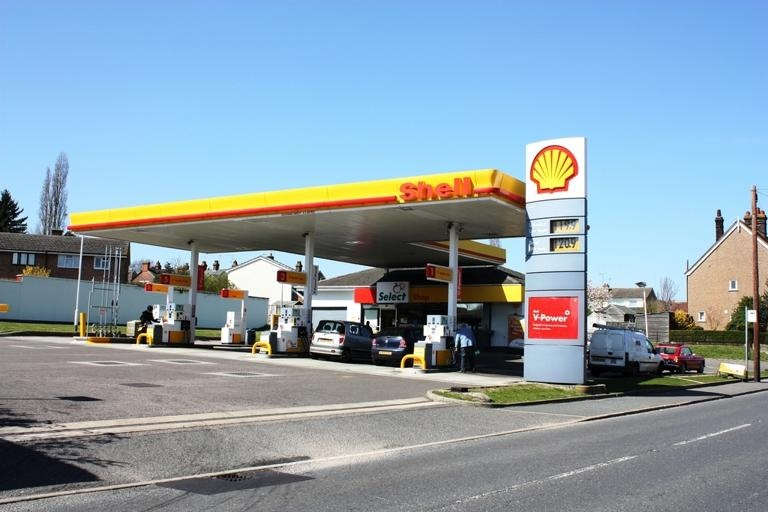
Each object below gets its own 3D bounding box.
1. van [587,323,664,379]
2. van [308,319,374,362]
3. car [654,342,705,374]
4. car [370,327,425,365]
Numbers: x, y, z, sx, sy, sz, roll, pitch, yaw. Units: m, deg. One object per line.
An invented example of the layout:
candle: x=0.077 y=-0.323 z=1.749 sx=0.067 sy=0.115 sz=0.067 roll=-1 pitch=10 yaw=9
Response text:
van: x=11.025 y=4.333 z=29.938 sx=1.924 sy=1.621 sz=3.554 roll=-3 pitch=-3 yaw=42
van: x=-1.909 y=3.708 z=28.255 sx=1.616 sy=1.168 sz=2.660 roll=-2 pitch=-4 yaw=36
car: x=15.698 y=5.429 z=33.964 sx=1.602 sy=1.066 sz=3.396 roll=-4 pitch=-5 yaw=44
car: x=0.721 y=3.734 z=27.664 sx=1.296 sy=0.979 sz=2.268 roll=-3 pitch=-2 yaw=34
